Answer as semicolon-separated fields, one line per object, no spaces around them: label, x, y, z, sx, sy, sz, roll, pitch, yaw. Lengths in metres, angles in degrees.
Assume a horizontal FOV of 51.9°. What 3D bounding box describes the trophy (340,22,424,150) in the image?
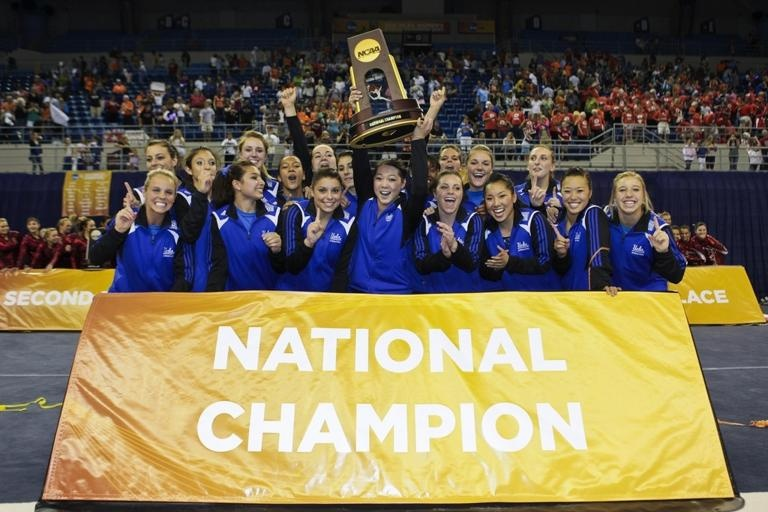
trophy;-0.124;-2.376;11.162;1.006;1.481;0.965;-10;29;12
